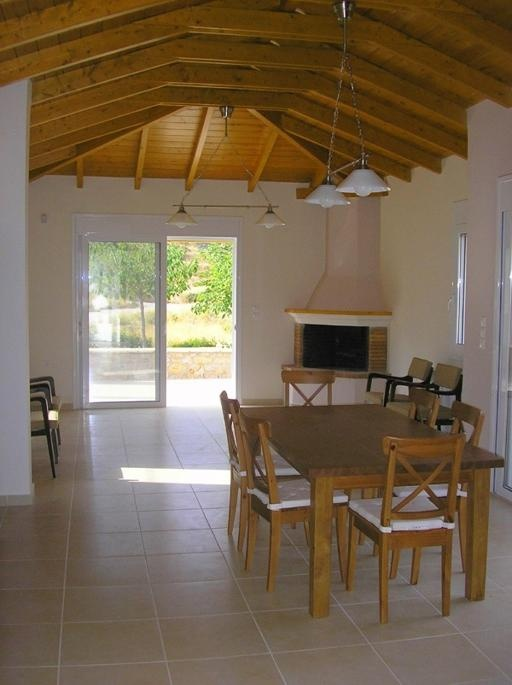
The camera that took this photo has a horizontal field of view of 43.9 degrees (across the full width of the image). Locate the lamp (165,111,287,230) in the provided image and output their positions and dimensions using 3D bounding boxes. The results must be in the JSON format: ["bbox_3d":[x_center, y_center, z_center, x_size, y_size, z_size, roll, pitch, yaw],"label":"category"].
[{"bbox_3d":[-0.427,-2.142,7.868,1.245,1.237,0.318,1,36,-3],"label":"lamp"}]
